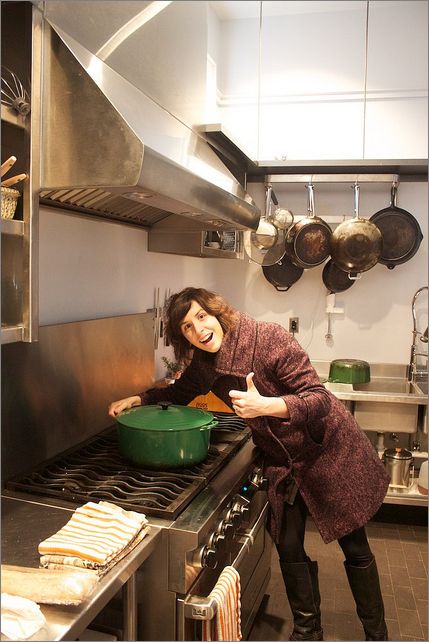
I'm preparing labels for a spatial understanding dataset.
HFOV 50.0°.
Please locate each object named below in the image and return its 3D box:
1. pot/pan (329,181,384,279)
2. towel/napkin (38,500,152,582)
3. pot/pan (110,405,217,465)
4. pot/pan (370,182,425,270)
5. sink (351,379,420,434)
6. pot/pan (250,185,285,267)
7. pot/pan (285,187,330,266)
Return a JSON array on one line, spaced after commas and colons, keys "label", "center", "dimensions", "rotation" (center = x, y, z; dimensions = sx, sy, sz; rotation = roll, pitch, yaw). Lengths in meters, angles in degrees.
[{"label": "pot/pan", "center": [0.850, -0.560, 2.777], "dimensions": [0.240, 0.572, 0.243], "rotation": [0, 0, -37]}, {"label": "towel/napkin", "center": [-0.234, 0.438, 0.907], "dimensions": [0.143, 0.050, 0.188], "rotation": [4, 10, 17]}, {"label": "pot/pan", "center": [-0.135, 0.286, 1.335], "dimensions": [0.196, 0.119, 0.227], "rotation": [-2, 4, -39]}, {"label": "pot/pan", "center": [1.180, -0.615, 2.960], "dimensions": [0.337, 0.486, 0.064], "rotation": [-4, 6, -5]}, {"label": "sink", "center": [1.059, 0.480, 2.865], "dimensions": [0.358, 0.219, 0.359], "rotation": [-1, -1, 12]}, {"label": "pot/pan", "center": [0.327, -0.576, 2.776], "dimensions": [0.064, 0.434, 0.269], "rotation": [0, -3, 40]}, {"label": "pot/pan", "center": [0.583, -0.568, 2.833], "dimensions": [0.286, 0.472, 0.066], "rotation": [-6, 10, -15]}]
